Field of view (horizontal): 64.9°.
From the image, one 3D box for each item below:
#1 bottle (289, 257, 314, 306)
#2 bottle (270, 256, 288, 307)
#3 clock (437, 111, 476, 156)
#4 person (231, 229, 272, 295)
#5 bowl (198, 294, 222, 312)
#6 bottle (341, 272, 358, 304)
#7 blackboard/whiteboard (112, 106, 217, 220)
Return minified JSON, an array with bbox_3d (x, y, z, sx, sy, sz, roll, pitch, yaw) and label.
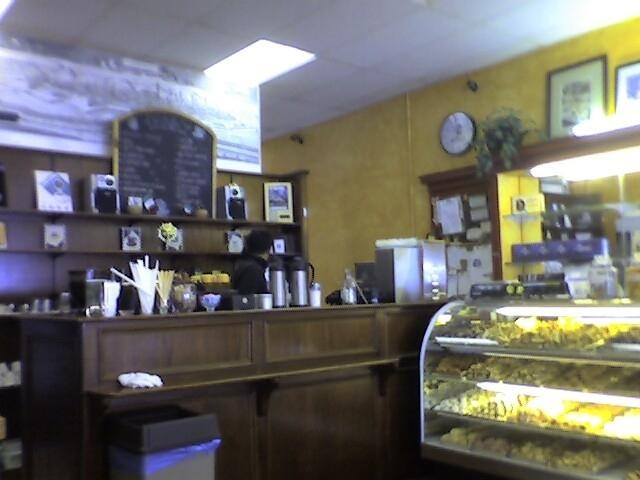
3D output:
[{"bbox_3d":[-0.137,0.292,3.486,0.170,0.326,0.359,-4,-3,-4],"label":"bottle"},{"bbox_3d":[-0.286,0.298,3.412,0.121,0.314,0.298,-4,-3,-6],"label":"bottle"},{"bbox_3d":[1.624,-1.267,5.965,0.106,0.465,0.462,3,-46,-36],"label":"clock"},{"bbox_3d":[-0.535,0.150,3.855,0.329,0.503,1.490,-4,-3,-6],"label":"person"},{"bbox_3d":[-0.671,0.373,3.040,0.108,0.098,0.107,-3,-4,0],"label":"bowl"},{"bbox_3d":[0.207,0.345,3.693,0.120,0.252,0.301,-5,-3,1],"label":"bottle"},{"bbox_3d":[-1.667,-0.773,5.228,1.216,1.462,0.064,-1,-3,-39],"label":"blackboard/whiteboard"}]
